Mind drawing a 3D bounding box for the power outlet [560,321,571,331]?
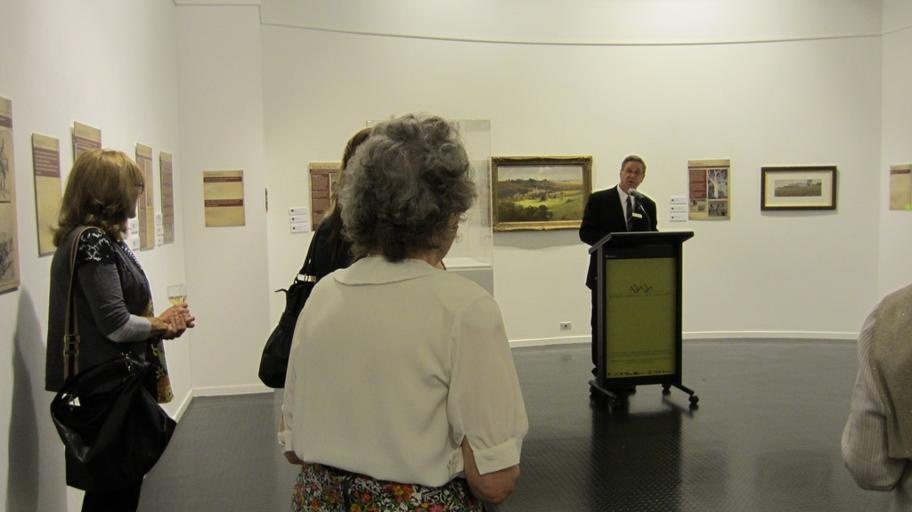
[{"bbox_3d":[1.739,1.131,10.137,0.223,0.170,0.124,-1,-1,-2],"label":"power outlet"}]

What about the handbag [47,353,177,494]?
[{"bbox_3d":[-2.821,1.347,5.468,1.071,1.271,0.976,0,-6,-42],"label":"handbag"}]

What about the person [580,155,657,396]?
[{"bbox_3d":[2.052,0.144,8.193,0.950,2.739,1.148,1,14,16],"label":"person"}]

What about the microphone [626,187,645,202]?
[{"bbox_3d":[2.297,-0.780,8.145,0.122,0.131,0.479,-24,-7,23],"label":"microphone"}]

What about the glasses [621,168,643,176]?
[{"bbox_3d":[2.285,-1.092,8.213,0.283,0.111,0.118,-3,13,0],"label":"glasses"}]

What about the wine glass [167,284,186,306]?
[{"bbox_3d":[-2.602,0.369,5.850,0.184,0.299,0.176,1,-2,-29],"label":"wine glass"}]

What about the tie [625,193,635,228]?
[{"bbox_3d":[2.203,-0.557,8.069,0.081,0.429,0.137,-2,13,4],"label":"tie"}]

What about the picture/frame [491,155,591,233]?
[{"bbox_3d":[1.244,-0.984,9.842,1.219,0.949,0.080,0,4,-5],"label":"picture/frame"}]
